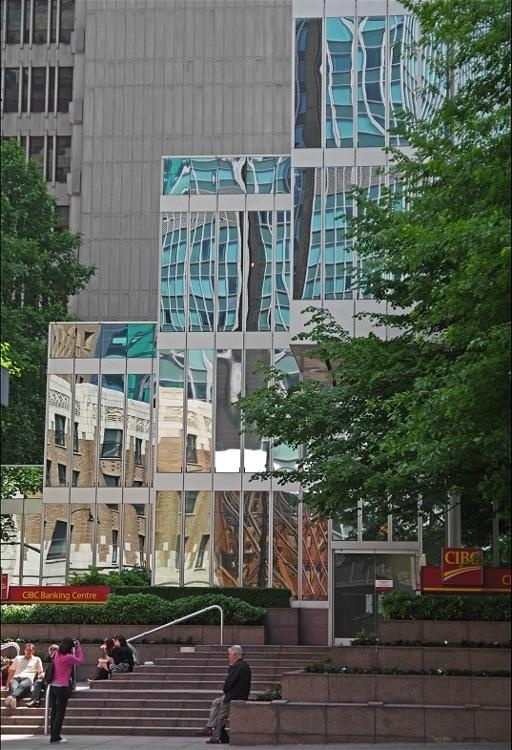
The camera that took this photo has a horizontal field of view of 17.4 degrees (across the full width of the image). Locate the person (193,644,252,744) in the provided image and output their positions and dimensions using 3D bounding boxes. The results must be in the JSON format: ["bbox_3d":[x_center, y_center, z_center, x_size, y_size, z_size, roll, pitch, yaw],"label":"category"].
[{"bbox_3d":[-0.460,5.508,28.504,0.744,1.594,1.185,0,-7,-2],"label":"person"}]

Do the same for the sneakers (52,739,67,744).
[{"bbox_3d":[-3.257,6.144,27.739,0.203,0.093,0.077,-1,-10,-5],"label":"sneakers"}]

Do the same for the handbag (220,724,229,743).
[{"bbox_3d":[-0.516,6.150,28.215,0.115,0.238,0.166,-1,-7,6],"label":"handbag"}]

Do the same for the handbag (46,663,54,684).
[{"bbox_3d":[-3.513,5.153,28.426,0.131,0.375,0.418,1,-7,-11],"label":"handbag"}]

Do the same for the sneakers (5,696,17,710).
[{"bbox_3d":[-4.445,6.018,30.421,0.138,0.261,0.102,-10,4,-8],"label":"sneakers"}]

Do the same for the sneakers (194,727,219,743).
[{"bbox_3d":[-0.784,6.183,28.496,0.197,0.257,0.600,21,-9,-10],"label":"sneakers"}]
